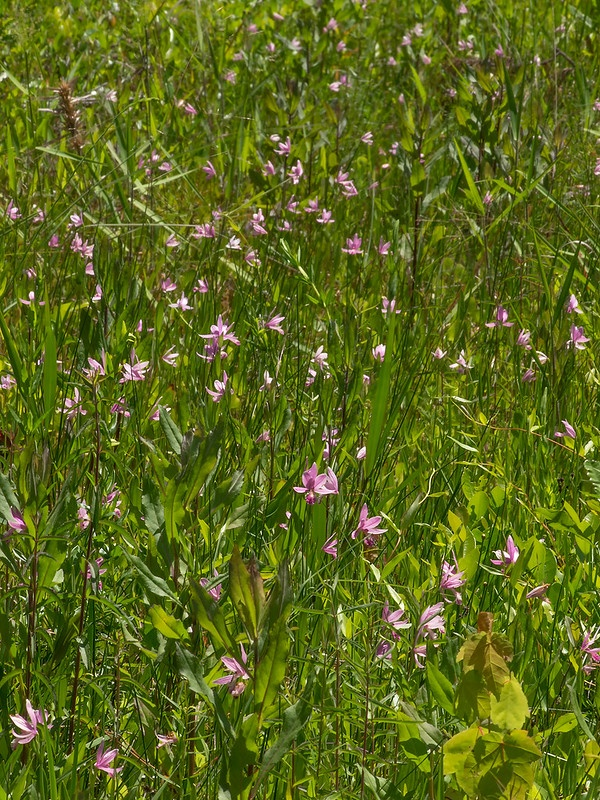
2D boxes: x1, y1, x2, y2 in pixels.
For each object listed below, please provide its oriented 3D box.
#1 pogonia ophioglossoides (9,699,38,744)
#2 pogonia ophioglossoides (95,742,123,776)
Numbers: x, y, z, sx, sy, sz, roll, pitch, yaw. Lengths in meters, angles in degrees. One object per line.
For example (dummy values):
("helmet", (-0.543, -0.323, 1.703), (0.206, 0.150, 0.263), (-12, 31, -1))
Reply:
("pogonia ophioglossoides", (-0.449, 0.528, 2.042), (0.047, 0.034, 0.069), (-16, 27, 23))
("pogonia ophioglossoides", (-0.316, 0.593, 2.064), (0.022, 0.062, 0.048), (-17, 29, 8))
